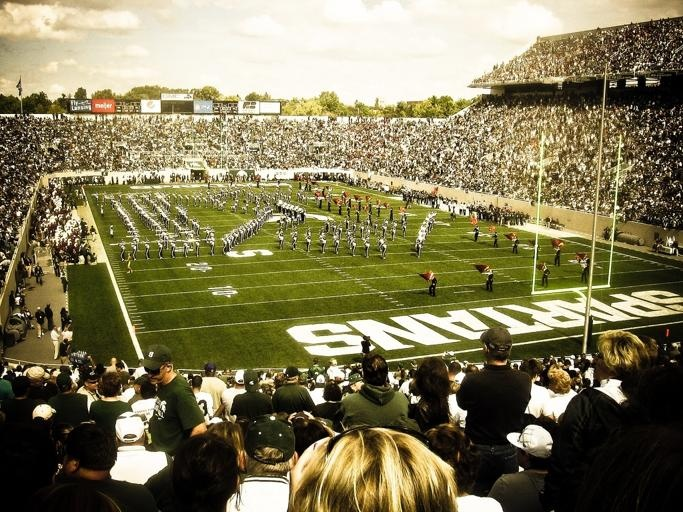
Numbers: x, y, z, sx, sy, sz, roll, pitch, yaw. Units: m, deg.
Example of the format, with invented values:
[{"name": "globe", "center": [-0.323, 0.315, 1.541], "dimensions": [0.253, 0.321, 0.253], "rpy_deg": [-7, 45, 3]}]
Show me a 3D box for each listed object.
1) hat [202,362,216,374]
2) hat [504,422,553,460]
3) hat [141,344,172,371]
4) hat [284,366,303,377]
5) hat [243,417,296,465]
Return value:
[{"name": "hat", "center": [-1.719, 1.444, 7.747], "dimensions": [0.133, 0.166, 0.164], "rpy_deg": [1, 20, -5]}, {"name": "hat", "center": [1.183, 1.173, 3.756], "dimensions": [0.160, 0.119, 0.223], "rpy_deg": [-14, 19, -28]}, {"name": "hat", "center": [-1.535, 0.834, 4.984], "dimensions": [0.171, 0.131, 0.250], "rpy_deg": [3, 4, 13]}, {"name": "hat", "center": [-0.547, 1.301, 6.614], "dimensions": [0.178, 0.087, 0.245], "rpy_deg": [2, 9, 0]}, {"name": "hat", "center": [-0.384, 0.995, 3.219], "dimensions": [0.313, 0.149, 0.449], "rpy_deg": [5, 13, -4]}]
